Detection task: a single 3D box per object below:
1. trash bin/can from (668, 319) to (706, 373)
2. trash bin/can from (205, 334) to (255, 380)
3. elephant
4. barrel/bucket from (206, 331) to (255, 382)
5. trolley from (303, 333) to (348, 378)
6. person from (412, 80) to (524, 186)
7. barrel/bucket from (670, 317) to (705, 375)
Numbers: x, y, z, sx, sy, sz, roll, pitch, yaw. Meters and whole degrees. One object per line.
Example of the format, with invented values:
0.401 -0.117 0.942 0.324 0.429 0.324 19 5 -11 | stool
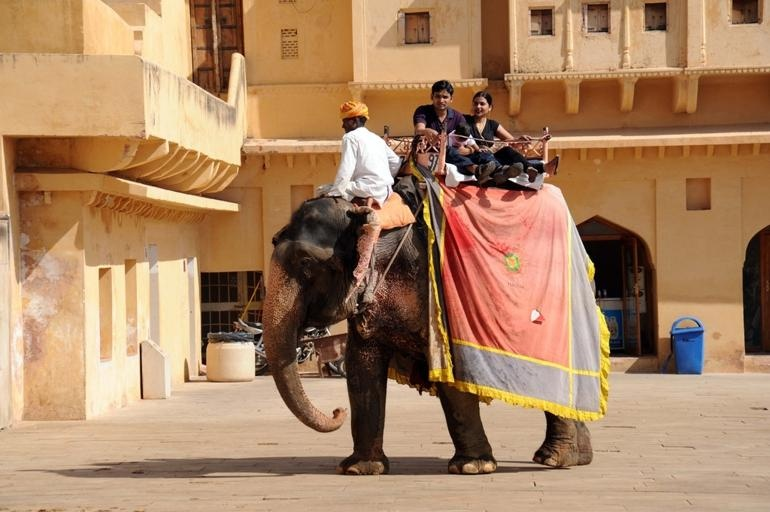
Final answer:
5.627 1.672 26.935 0.618 1.049 0.474 2 -12 -3 | trash bin/can
-2.766 1.834 26.336 0.832 0.878 0.354 0 -2 -15 | trash bin/can
0.361 0.921 19.943 5.423 5.016 2.141 -1 -4 11 | elephant
-2.851 1.851 26.614 0.976 0.813 0.962 1 -2 0 | barrel/bucket
-1.051 1.771 26.464 1.265 0.804 0.928 -1 -6 -18 | trolley
1.037 -1.628 18.808 1.257 1.381 0.853 0 -2 1 | person
5.653 1.655 26.954 0.617 1.068 0.622 0 -2 0 | barrel/bucket
